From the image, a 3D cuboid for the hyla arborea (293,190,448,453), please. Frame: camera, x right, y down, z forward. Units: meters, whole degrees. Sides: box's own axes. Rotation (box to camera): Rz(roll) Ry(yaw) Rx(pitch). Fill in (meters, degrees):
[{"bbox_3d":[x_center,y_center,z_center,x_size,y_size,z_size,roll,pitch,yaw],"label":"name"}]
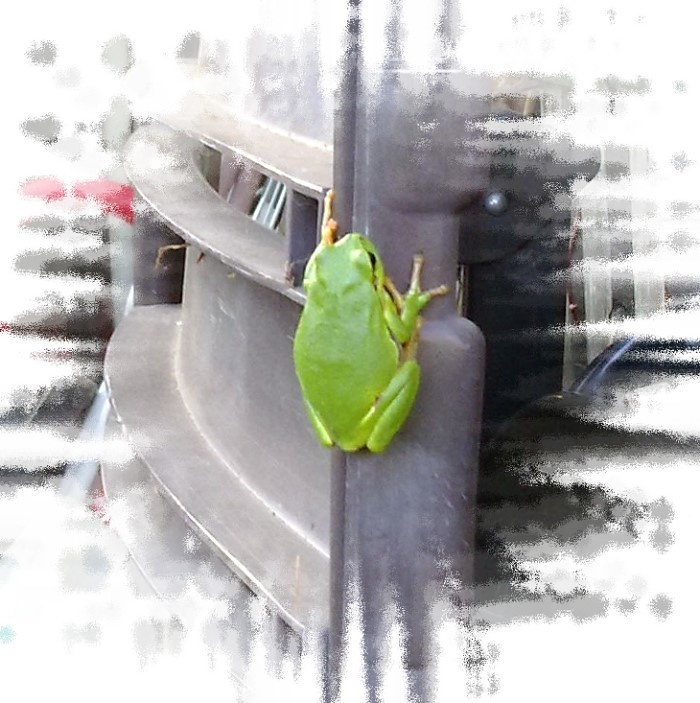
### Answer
[{"bbox_3d":[0.019,-0.033,0.847,0.163,0.077,0.284,7,99,36],"label":"hyla arborea"}]
